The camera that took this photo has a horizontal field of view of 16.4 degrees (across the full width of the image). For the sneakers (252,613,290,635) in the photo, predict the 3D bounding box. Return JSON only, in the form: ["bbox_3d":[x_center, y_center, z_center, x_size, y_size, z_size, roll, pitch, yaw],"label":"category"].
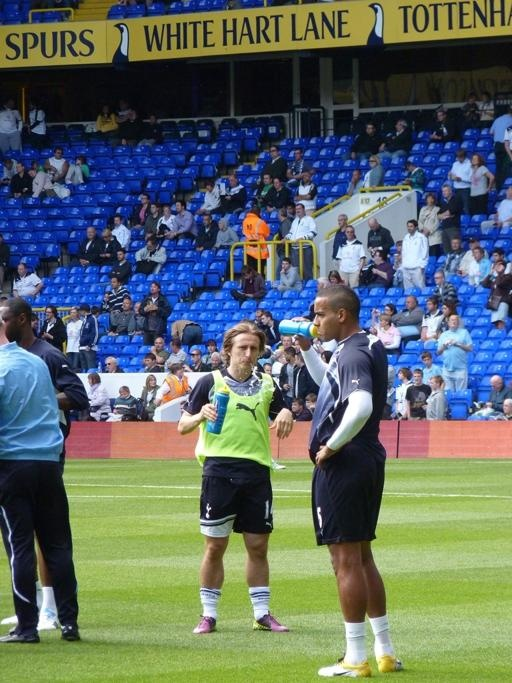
[{"bbox_3d":[0.089,1.944,12.164,0.266,0.118,0.093,5,12,-8],"label":"sneakers"}]

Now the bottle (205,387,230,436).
[{"bbox_3d":[-0.272,0.499,12.312,0.151,0.308,0.101,-1,2,-6],"label":"bottle"}]

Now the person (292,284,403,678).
[{"bbox_3d":[0.614,0.863,11.424,0.557,2.449,0.916,-1,2,1],"label":"person"}]

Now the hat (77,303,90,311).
[{"bbox_3d":[-2.768,-0.550,28.627,0.142,0.147,0.103,-4,12,-35],"label":"hat"}]

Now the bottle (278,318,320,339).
[{"bbox_3d":[0.305,-0.093,12.610,0.353,0.156,0.152,4,9,13],"label":"bottle"}]

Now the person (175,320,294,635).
[{"bbox_3d":[-0.145,0.932,12.347,0.776,2.121,0.609,-1,2,-2],"label":"person"}]

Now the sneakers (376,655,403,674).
[{"bbox_3d":[0.825,2.049,11.204,0.071,0.080,0.182,2,1,16],"label":"sneakers"}]

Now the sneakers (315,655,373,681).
[{"bbox_3d":[0.551,2.051,11.121,0.348,0.149,0.121,1,-12,11],"label":"sneakers"}]

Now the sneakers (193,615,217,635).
[{"bbox_3d":[-0.350,1.963,12.196,0.071,0.093,0.202,0,-7,12],"label":"sneakers"}]
